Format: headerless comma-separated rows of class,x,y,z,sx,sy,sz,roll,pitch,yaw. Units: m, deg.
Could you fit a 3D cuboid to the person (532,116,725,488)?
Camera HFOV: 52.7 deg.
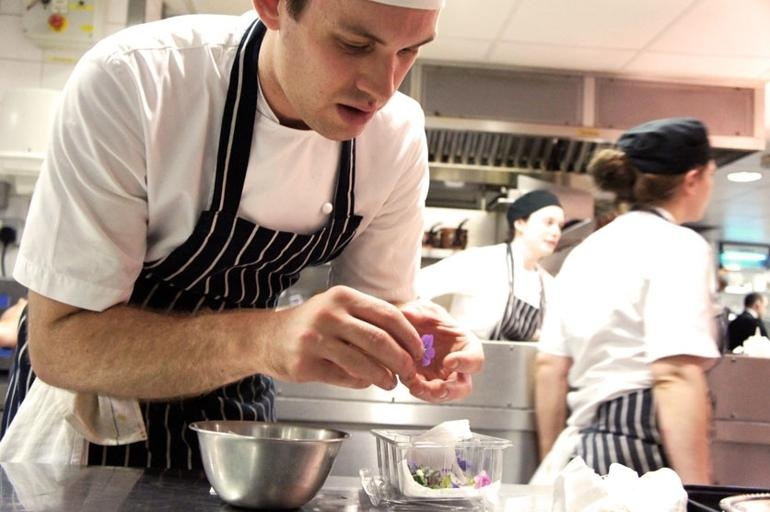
person,0.900,0.176,2.851,0.606,1.324,0.648,-1,7,4

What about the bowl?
bowl,-0.270,0.478,1.822,0.318,0.186,0.246,-6,9,-32

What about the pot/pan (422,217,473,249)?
pot/pan,0.349,-0.103,4.338,0.182,0.125,0.194,1,-5,3

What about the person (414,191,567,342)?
person,0.535,0.066,3.700,0.582,0.773,0.277,18,-10,-31

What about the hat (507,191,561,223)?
hat,0.773,-0.244,4.188,0.258,0.116,0.292,-15,-8,-10
